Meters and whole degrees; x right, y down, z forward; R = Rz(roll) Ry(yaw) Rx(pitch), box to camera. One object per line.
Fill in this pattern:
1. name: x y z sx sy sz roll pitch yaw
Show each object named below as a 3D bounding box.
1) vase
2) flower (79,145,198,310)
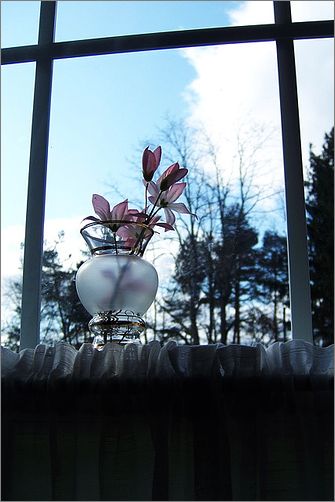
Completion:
1. vase: -0.120 0.102 1.805 0.210 0.321 0.205 6 -10 -40
2. flower: -0.094 -0.026 1.844 0.271 0.441 0.258 1 -16 -1
